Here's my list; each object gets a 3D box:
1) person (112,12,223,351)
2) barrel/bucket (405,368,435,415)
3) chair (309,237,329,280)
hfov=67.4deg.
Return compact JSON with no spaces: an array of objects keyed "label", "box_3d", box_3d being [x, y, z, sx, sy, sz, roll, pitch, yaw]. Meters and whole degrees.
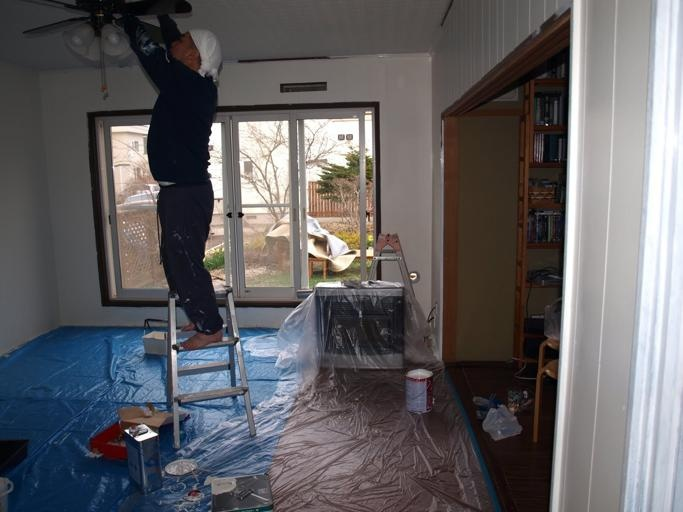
[{"label":"person","box_3d":[-1.023,-0.423,3.385,0.557,2.138,0.318,-5,13,-16]},{"label":"barrel/bucket","box_3d":[0.563,1.003,3.902,0.245,0.295,0.258,-2,10,0]},{"label":"chair","box_3d":[-0.363,0.039,8.450,0.344,0.709,0.609,-2,12,-2]}]
